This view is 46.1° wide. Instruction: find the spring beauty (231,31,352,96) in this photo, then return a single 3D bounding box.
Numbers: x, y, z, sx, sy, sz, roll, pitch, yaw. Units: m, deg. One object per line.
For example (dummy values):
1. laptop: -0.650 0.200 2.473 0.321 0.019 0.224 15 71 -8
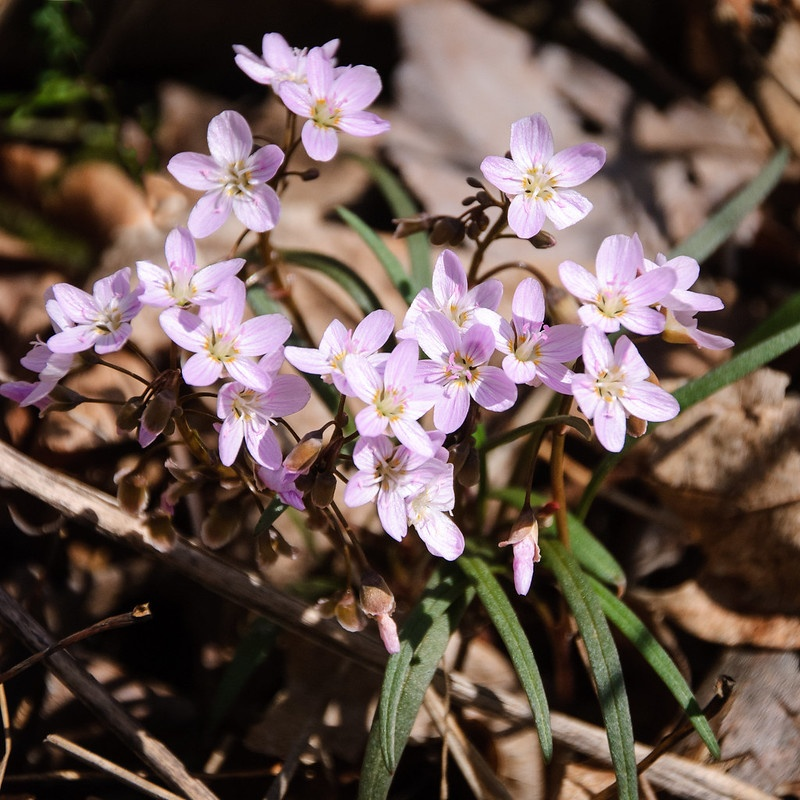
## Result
1. spring beauty: -0.417 -1.238 3.480 0.338 0.174 0.391 -30 53 -33
